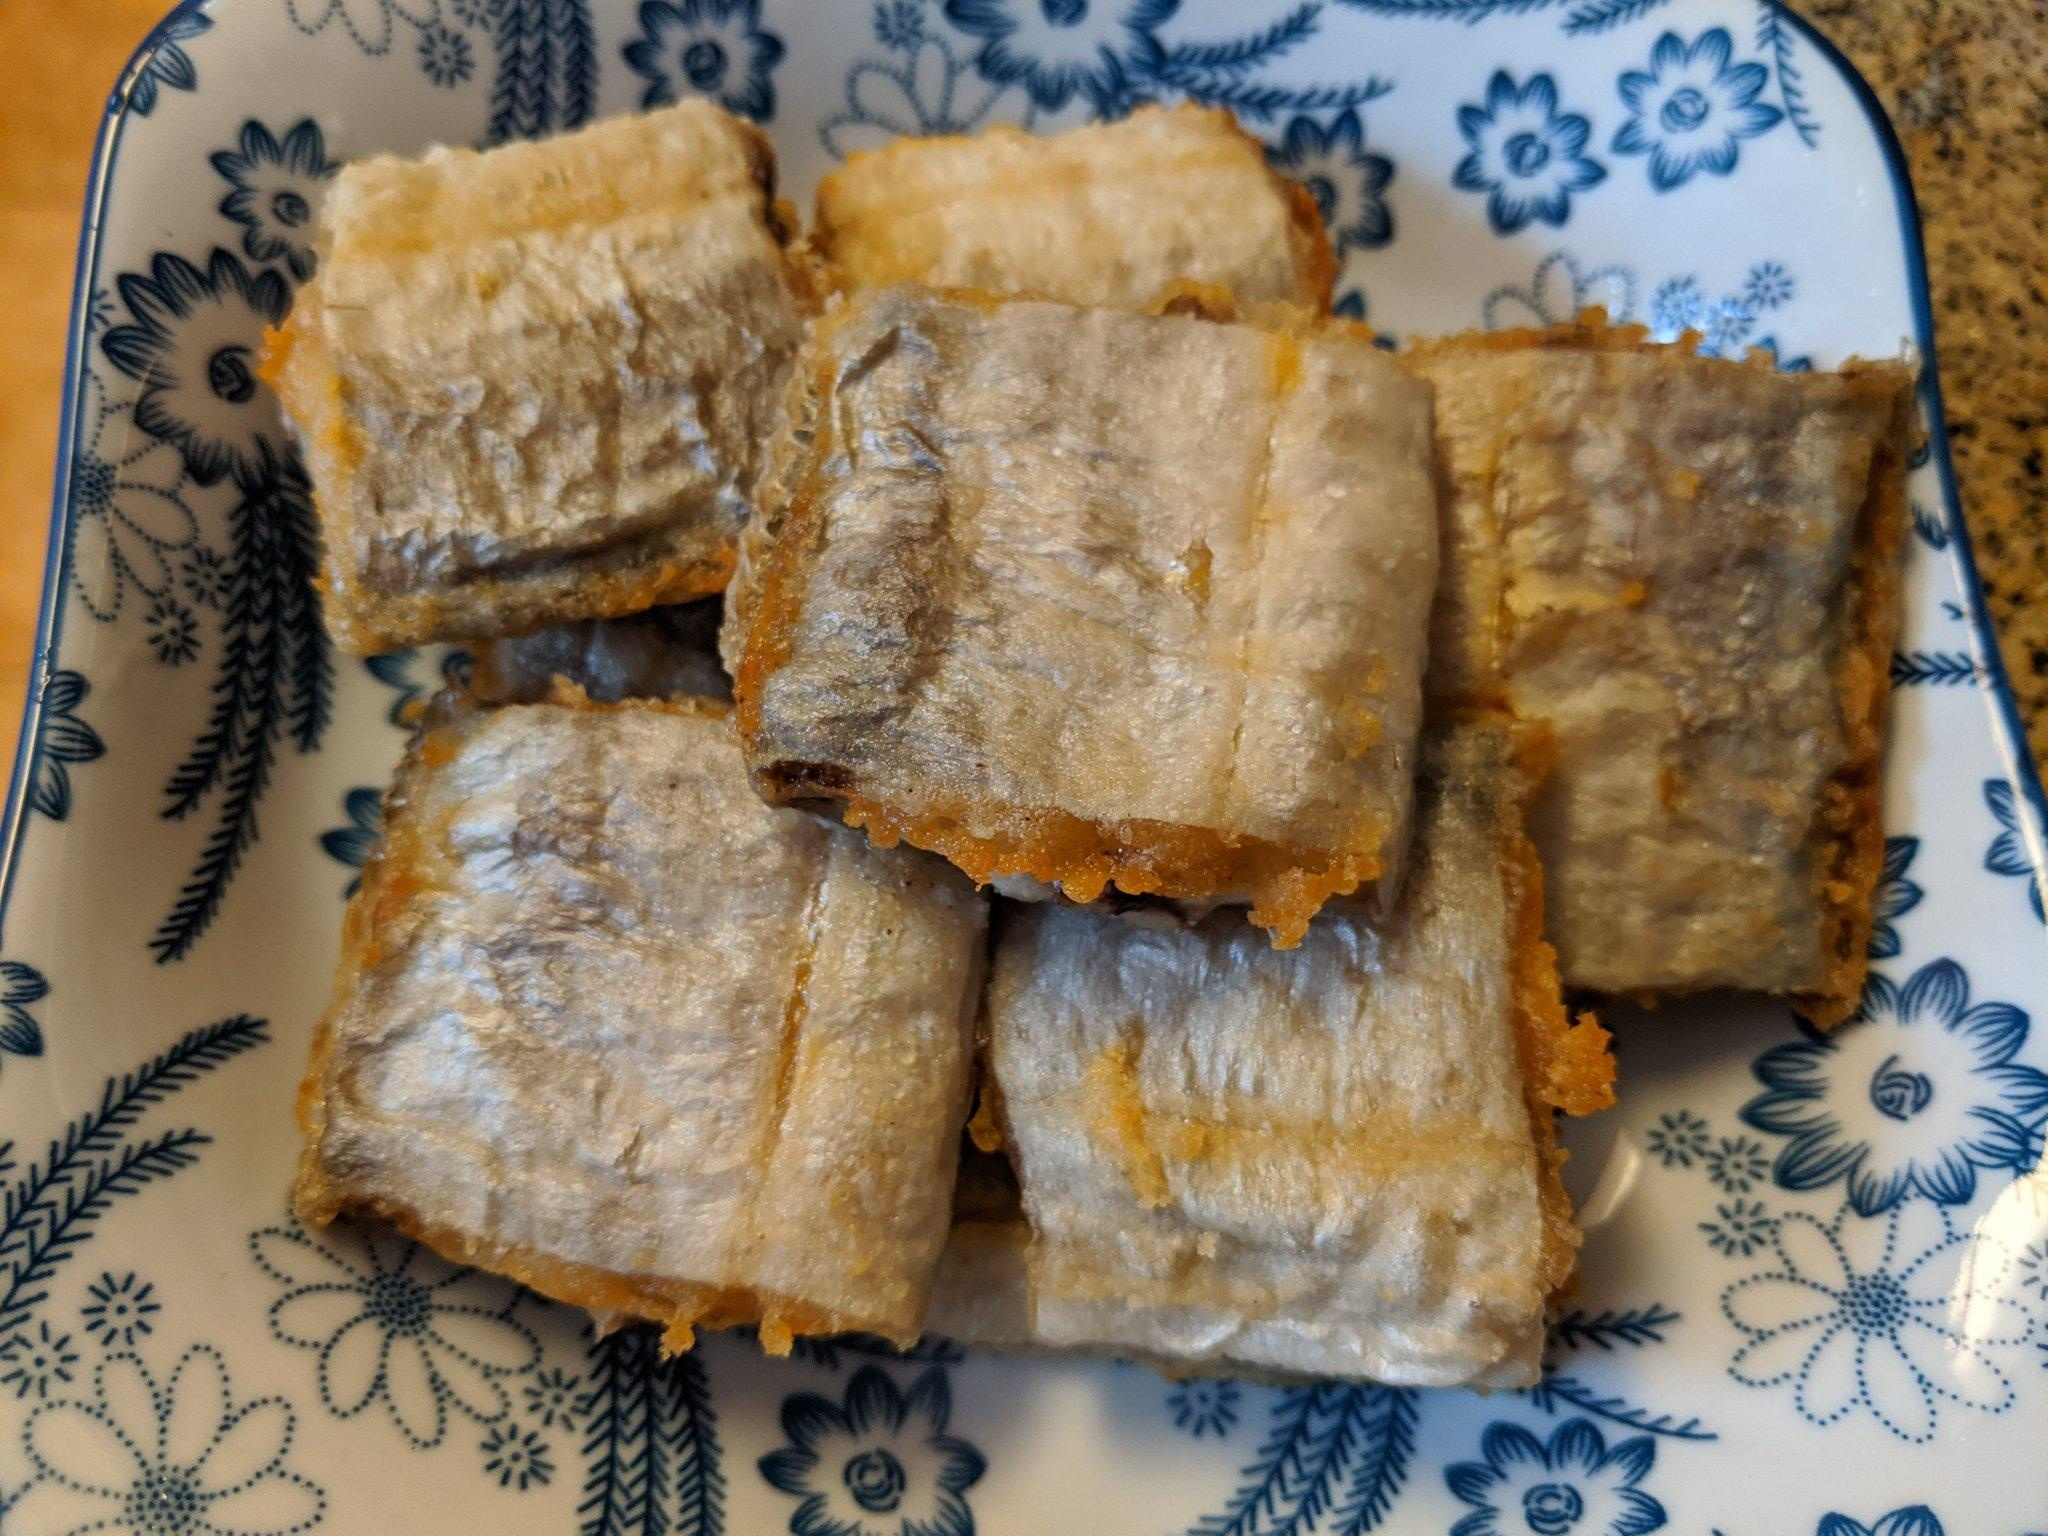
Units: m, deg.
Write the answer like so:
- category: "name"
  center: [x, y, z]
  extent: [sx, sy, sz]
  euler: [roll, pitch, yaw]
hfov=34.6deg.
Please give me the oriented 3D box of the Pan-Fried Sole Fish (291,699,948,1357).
- category: "Pan-Fried Sole Fish"
  center: [-0.405, 0.274, 3.599]
  extent: [0.705, 0.155, 0.654]
  euler: [14, 76, 6]

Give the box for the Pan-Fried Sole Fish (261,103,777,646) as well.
- category: "Pan-Fried Sole Fish"
  center: [-0.540, -0.439, 3.696]
  extent: [0.592, 0.214, 0.495]
  euler: [-13, 75, -1]
